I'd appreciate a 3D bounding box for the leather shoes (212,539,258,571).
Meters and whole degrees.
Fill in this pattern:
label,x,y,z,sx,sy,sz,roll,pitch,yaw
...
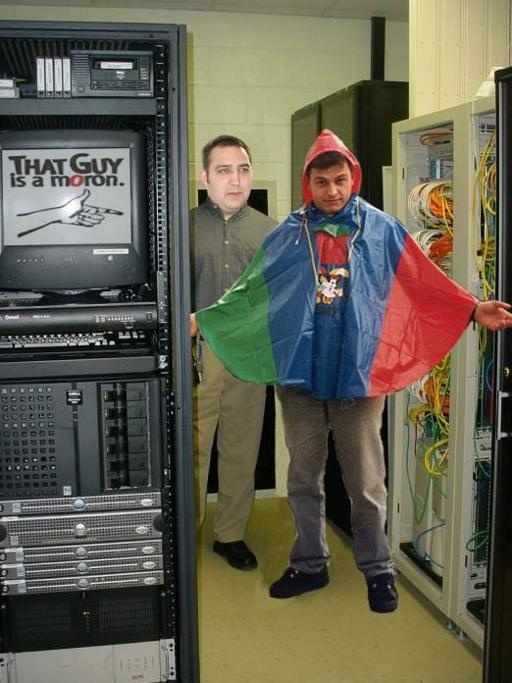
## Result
label,x,y,z,sx,sy,sz,roll,pitch,yaw
leather shoes,-0.076,0.783,2.627,0.067,0.063,0.161,-8,6,-41

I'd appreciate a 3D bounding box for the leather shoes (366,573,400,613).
label,x,y,z,sx,sy,sz,roll,pitch,yaw
leather shoes,0.389,0.780,2.202,0.075,0.056,0.140,-5,17,6

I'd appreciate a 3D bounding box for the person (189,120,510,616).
label,x,y,z,sx,sy,sz,roll,pitch,yaw
person,0.245,0.122,2.165,0.849,1.508,0.335,4,11,17

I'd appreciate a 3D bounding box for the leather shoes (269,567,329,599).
label,x,y,z,sx,sy,sz,roll,pitch,yaw
leather shoes,0.140,0.793,2.382,0.229,0.095,0.082,-7,9,-13
